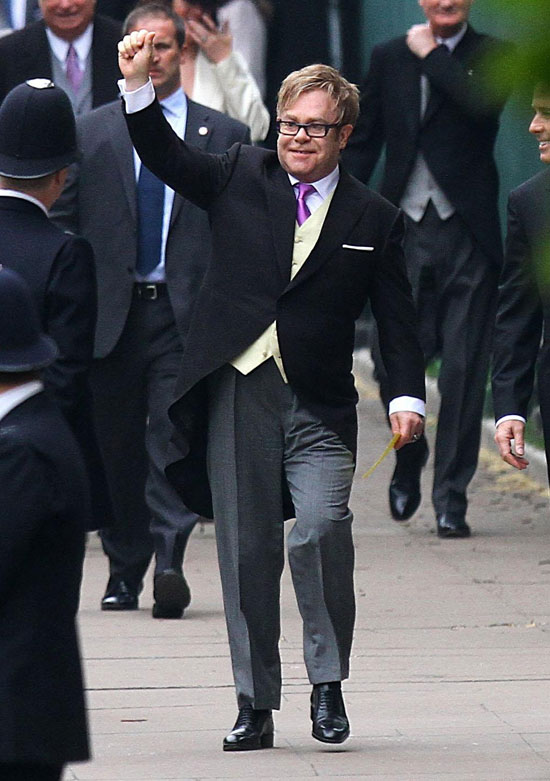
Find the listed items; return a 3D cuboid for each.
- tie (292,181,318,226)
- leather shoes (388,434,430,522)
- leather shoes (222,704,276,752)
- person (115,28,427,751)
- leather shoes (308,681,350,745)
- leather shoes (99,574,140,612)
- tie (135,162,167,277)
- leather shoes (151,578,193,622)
[{"bbox_3d":[0.081,-0.526,3.607,0.087,0.109,0.038,6,1,-17],"label":"tie"},{"bbox_3d":[0.720,0.477,6.939,0.202,0.495,0.243,11,6,22],"label":"leather shoes"},{"bbox_3d":[-0.063,0.921,3.474,0.080,0.096,0.199,-2,-11,25],"label":"leather shoes"},{"bbox_3d":[0.077,0.036,3.586,0.731,1.886,0.439,2,6,-6],"label":"person"},{"bbox_3d":[0.151,0.878,3.504,0.102,0.156,0.074,3,5,6],"label":"leather shoes"},{"bbox_3d":[-0.632,0.837,5.264,0.122,0.103,0.271,2,-11,-4],"label":"leather shoes"},{"bbox_3d":[-0.494,-0.670,5.099,0.136,0.450,0.036,5,5,30],"label":"tie"},{"bbox_3d":[-0.408,0.811,5.047,0.107,0.226,0.098,4,40,-8],"label":"leather shoes"}]
